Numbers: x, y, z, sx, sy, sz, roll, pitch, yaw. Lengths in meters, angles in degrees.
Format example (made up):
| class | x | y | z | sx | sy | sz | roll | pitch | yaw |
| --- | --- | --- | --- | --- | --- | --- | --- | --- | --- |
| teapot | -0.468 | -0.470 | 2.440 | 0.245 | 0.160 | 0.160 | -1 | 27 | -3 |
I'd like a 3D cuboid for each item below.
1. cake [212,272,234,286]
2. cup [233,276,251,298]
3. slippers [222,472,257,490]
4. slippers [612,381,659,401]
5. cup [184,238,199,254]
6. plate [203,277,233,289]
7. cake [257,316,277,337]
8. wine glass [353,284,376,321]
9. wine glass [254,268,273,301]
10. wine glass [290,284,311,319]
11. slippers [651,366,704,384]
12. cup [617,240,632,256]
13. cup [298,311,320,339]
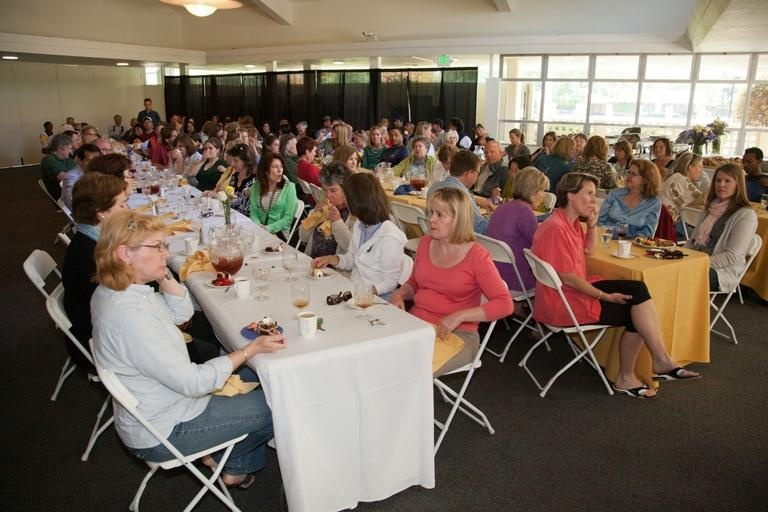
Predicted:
| class | x | y | z | sx | sy | sz | roll | pitch | yaw |
| --- | --- | --- | --- | --- | --- | --- | --- | --- | --- |
| cake | -1.120 | 0.169 | 3.420 | 0.102 | 0.052 | 0.103 | -3 | 10 | -31 |
| cup | -0.950 | 0.199 | 3.289 | 0.102 | 0.127 | 0.166 | -12 | 20 | -35 |
| slippers | -0.939 | 1.456 | 3.174 | 0.213 | 0.093 | 0.057 | -10 | 16 | -41 |
| slippers | 2.029 | 1.078 | 3.955 | 0.242 | 0.079 | 0.139 | -1 | 3 | 25 |
| cup | -1.552 | -0.079 | 3.956 | 0.097 | 0.114 | 0.131 | 3 | 2 | 4 |
| plate | -1.149 | 0.182 | 3.407 | 0.203 | 0.052 | 0.106 | 3 | 16 | 12 |
| cake | -0.664 | 0.407 | 2.801 | 0.115 | 0.075 | 0.212 | -5 | 17 | -14 |
| wine glass | -0.129 | 0.252 | 3.075 | 0.136 | 0.190 | 0.248 | -2 | 16 | -4 |
| wine glass | -0.819 | 0.176 | 3.276 | 0.102 | 0.186 | 0.226 | -5 | 17 | -16 |
| wine glass | -0.498 | 0.271 | 2.994 | 0.161 | 0.284 | 0.167 | -1 | 2 | -3 |
| slippers | 2.411 | 0.958 | 3.985 | 0.468 | 0.128 | 0.186 | -3 | 1 | -6 |
| cup | 2.004 | -0.067 | 4.079 | 0.111 | 0.140 | 0.136 | -3 | -3 | 5 |
| cup | -0.431 | 0.409 | 2.800 | 0.088 | 0.104 | 0.140 | -1 | 4 | -3 |
